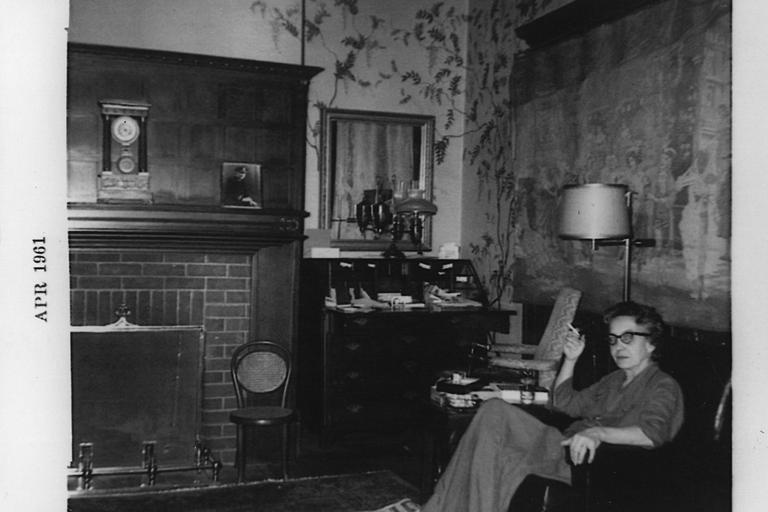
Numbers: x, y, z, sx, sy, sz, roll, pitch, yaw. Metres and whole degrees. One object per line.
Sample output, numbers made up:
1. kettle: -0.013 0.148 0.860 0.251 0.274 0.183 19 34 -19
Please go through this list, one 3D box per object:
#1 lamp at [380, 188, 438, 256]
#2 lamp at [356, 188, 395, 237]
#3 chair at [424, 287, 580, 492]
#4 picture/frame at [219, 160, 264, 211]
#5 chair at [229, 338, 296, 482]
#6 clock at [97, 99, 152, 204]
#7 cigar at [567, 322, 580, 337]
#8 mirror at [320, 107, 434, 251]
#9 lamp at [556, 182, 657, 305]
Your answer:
1. lamp: 0.195 -0.254 7.304 0.445 0.526 0.680 -1 2 -1
2. lamp: -0.105 -0.363 7.438 0.321 0.366 0.312 2 -7 3
3. chair: 0.887 0.726 5.952 1.335 1.230 1.057 2 -3 3
4. picture/frame: -1.134 -0.555 6.724 0.395 0.373 0.044 5 9 23
5. chair: -0.929 1.141 6.390 0.485 0.999 0.834 -2 3 -7
6. clock: -1.984 -0.792 6.436 0.412 0.776 0.149 -2 3 -13
7. cigar: 1.228 0.482 5.571 0.064 0.028 0.083 5 36 -53
8. mirror: -0.121 -0.664 7.391 1.559 1.467 0.071 1 -3 -18
9. lamp: 1.374 -0.088 5.318 0.574 0.722 0.278 -1 3 9
